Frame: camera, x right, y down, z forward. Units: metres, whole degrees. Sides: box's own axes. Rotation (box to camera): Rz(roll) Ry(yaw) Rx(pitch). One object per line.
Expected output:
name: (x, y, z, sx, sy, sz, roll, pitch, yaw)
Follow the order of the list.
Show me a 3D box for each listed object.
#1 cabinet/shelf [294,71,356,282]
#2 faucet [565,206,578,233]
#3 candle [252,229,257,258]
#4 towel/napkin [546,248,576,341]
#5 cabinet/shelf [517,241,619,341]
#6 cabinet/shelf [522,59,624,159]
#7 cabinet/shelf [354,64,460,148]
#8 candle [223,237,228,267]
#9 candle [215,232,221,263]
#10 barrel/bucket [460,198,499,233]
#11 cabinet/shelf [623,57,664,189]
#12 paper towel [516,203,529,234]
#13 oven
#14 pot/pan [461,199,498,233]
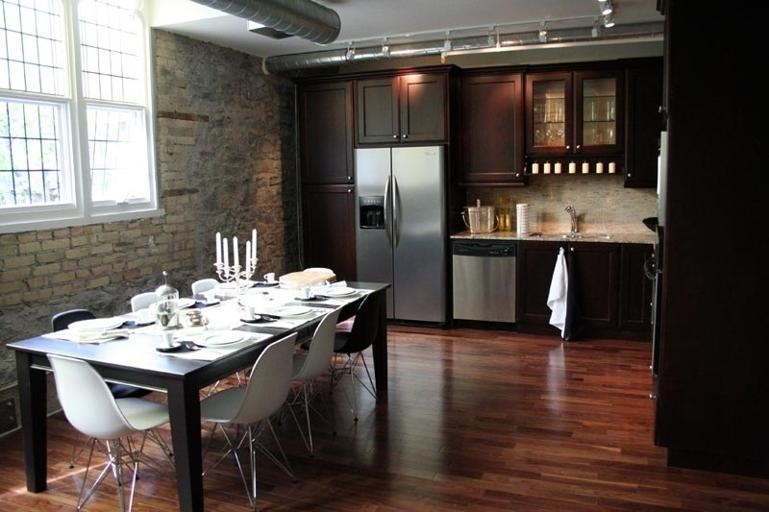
cabinet/shelf: (-0.781, -0.817, 8.047, 0.821, 3.154, 0.320, 1, 13, 7)
faucet: (2.483, -0.491, 7.390, 0.166, 0.356, 0.225, 1, 8, 16)
candle: (-1.153, -0.115, 4.987, 0.026, 0.240, 0.229, -4, 8, -19)
towel/napkin: (2.180, 0.460, 6.906, 0.309, 1.128, 0.210, 2, 9, 22)
cabinet/shelf: (2.286, 0.376, 7.573, 0.700, 1.205, 1.282, 1, -3, 10)
cabinet/shelf: (2.410, -1.787, 7.187, 1.222, 1.066, 0.415, 0, 1, 8)
cabinet/shelf: (0.359, -1.972, 7.366, 1.225, 0.806, 0.436, 1, 2, 22)
candle: (-1.375, -0.029, 4.894, 0.025, 0.249, 0.242, -4, 8, -18)
candle: (-1.410, -0.074, 4.800, 0.031, 0.261, 0.421, -4, 8, -18)
barrel/bucket: (1.312, -0.530, 7.585, 0.479, 0.400, 0.459, 0, 2, 0)
cabinet/shelf: (3.449, -1.634, 6.974, 0.803, 1.471, 0.487, -21, 24, -37)
paper towel: (1.831, -0.490, 7.387, 0.158, 0.393, 0.445, 1, 8, 14)
oven: (1.295, 0.396, 7.619, 0.858, 1.077, 0.785, 1, -6, -4)
pot/pan: (1.281, -0.524, 7.441, 0.401, 0.346, 0.397, 0, -3, 0)
